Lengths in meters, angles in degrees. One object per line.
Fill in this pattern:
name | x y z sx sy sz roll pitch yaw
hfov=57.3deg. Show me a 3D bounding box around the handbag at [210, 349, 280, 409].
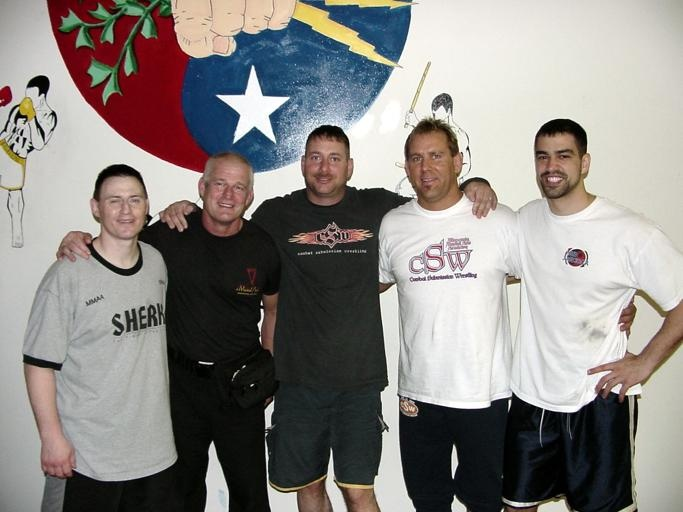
handbag | -0.516 0.672 3.396 0.327 0.280 0.113 -9 8 -34
